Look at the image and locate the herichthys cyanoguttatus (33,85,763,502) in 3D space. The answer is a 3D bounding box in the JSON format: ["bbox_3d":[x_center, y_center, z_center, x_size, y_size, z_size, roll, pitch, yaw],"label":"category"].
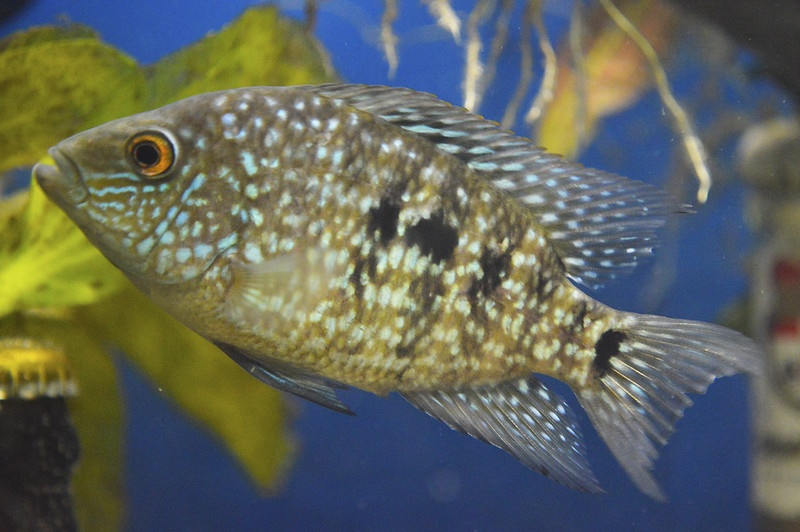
[{"bbox_3d":[0.008,-0.006,3.568,1.976,0.437,1.040,20,-71,-3],"label":"herichthys cyanoguttatus"}]
